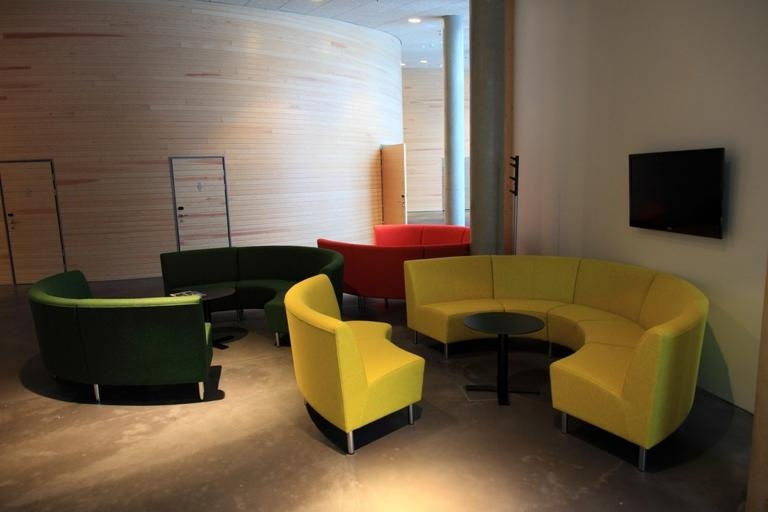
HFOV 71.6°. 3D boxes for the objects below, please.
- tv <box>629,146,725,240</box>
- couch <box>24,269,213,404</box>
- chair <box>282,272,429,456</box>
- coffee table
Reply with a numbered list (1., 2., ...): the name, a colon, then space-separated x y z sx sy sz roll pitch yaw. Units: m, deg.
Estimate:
1. tv: 3.101 -0.681 5.603 0.146 0.767 1.234 -6 7 -22
2. couch: -3.151 0.862 6.178 2.604 0.992 1.431 8 11 37
3. chair: -0.376 0.978 5.577 1.451 1.078 1.701 2 17 -18
4. coffee table: 1.241 1.054 5.786 1.117 0.829 0.955 -1 7 6
